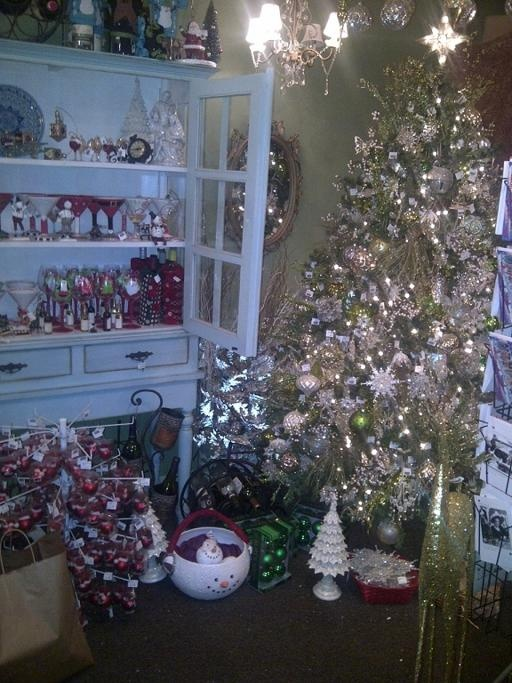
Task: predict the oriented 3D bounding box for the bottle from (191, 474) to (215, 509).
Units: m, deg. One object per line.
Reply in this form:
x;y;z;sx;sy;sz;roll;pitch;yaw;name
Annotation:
-0.254;0.698;2.573;0.063;0.156;0.092;-10;10;11;bottle

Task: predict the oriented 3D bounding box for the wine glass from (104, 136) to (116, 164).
-0.589;-0.764;2.237;0.046;0.088;0.170;1;9;-14;wine glass

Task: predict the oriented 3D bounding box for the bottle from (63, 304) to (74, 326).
-0.749;-0.108;2.224;0.036;0.086;0.095;0;9;-18;bottle

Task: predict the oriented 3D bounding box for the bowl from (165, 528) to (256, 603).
-0.154;0.894;2.201;0.367;0.183;0.329;-3;4;2;bowl

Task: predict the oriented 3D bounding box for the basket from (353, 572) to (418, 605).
0.529;0.986;2.230;0.250;0.092;0.166;4;9;6;basket

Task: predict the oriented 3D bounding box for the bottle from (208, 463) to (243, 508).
-0.137;0.667;2.569;0.136;0.067;0.191;-12;37;-13;bottle

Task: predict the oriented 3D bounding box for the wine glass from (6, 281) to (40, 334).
-0.898;-0.138;2.146;0.144;0.168;0.138;-15;36;-35;wine glass

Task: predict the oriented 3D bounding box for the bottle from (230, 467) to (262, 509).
-0.043;0.681;2.555;0.101;0.063;0.174;-7;40;-23;bottle

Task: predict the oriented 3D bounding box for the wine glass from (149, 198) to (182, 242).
-0.403;-0.539;2.485;0.142;0.196;0.135;7;16;16;wine glass

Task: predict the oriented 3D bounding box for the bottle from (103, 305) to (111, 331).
-0.599;-0.085;2.237;0.029;0.074;0.043;1;9;-14;bottle

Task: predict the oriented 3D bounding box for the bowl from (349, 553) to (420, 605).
0.535;0.975;2.292;0.251;0.106;0.364;0;0;8;bowl
